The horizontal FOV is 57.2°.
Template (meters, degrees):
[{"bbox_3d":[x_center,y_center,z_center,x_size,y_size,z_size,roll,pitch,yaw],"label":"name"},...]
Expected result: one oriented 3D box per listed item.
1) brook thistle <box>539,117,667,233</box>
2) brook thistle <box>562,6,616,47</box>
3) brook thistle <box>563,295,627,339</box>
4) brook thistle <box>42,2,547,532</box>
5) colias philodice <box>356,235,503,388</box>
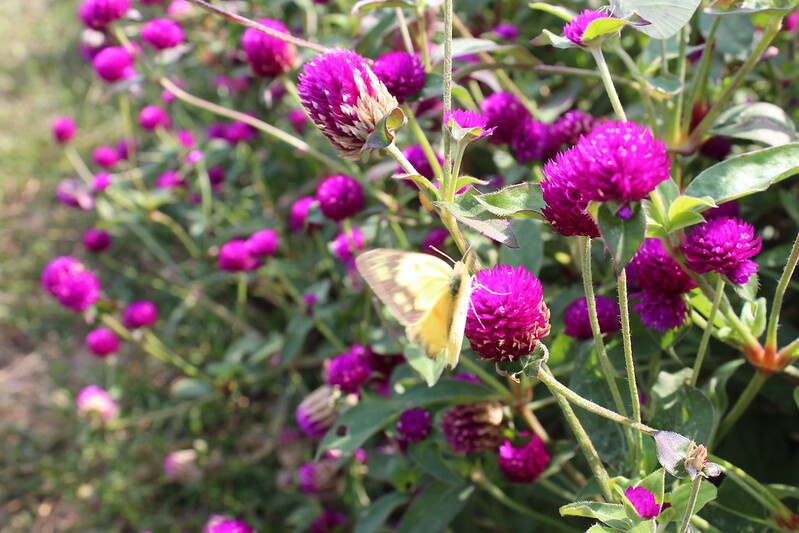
[{"bbox_3d":[0.440,-0.190,1.644,0.220,0.240,0.255,-8,76,5],"label":"brook thistle"},{"bbox_3d":[0.423,-0.547,1.645,0.083,0.052,0.087,6,52,54],"label":"brook thistle"},{"bbox_3d":[0.494,0.134,1.881,0.105,0.119,0.125,-27,91,-9],"label":"brook thistle"},{"bbox_3d":[-0.173,-0.228,2.750,1.581,0.966,1.839,-29,86,37],"label":"brook thistle"},{"bbox_3d":[0.058,0.111,1.674,0.158,0.283,0.279,-18,71,24],"label":"colias philodice"}]
